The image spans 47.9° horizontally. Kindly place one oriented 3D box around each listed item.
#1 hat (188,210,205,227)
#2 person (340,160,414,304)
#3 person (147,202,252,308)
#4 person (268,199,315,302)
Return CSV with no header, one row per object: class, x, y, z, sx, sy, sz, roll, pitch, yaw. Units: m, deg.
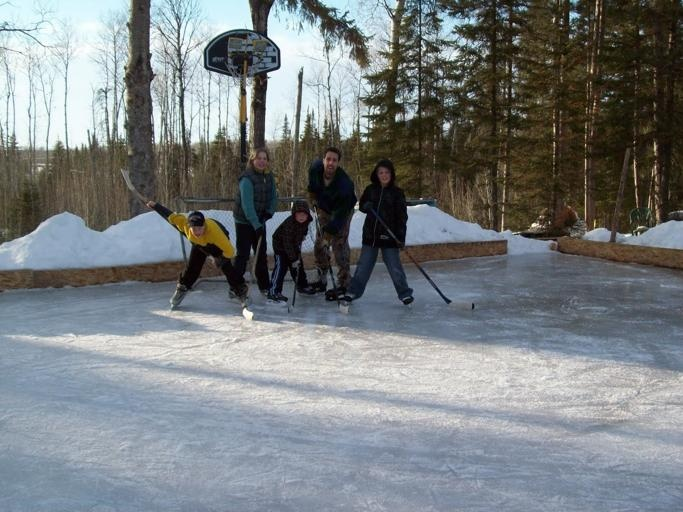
hat,-1.742,-0.447,9.313,0.156,0.182,0.209,-2,-19,-9
person,0.532,-0.308,9.945,0.821,1.883,0.592,2,5,3
person,-1.830,-0.011,9.680,1.292,1.432,0.781,3,30,3
person,-0.674,-0.095,10.355,0.583,1.333,0.870,1,5,-2
